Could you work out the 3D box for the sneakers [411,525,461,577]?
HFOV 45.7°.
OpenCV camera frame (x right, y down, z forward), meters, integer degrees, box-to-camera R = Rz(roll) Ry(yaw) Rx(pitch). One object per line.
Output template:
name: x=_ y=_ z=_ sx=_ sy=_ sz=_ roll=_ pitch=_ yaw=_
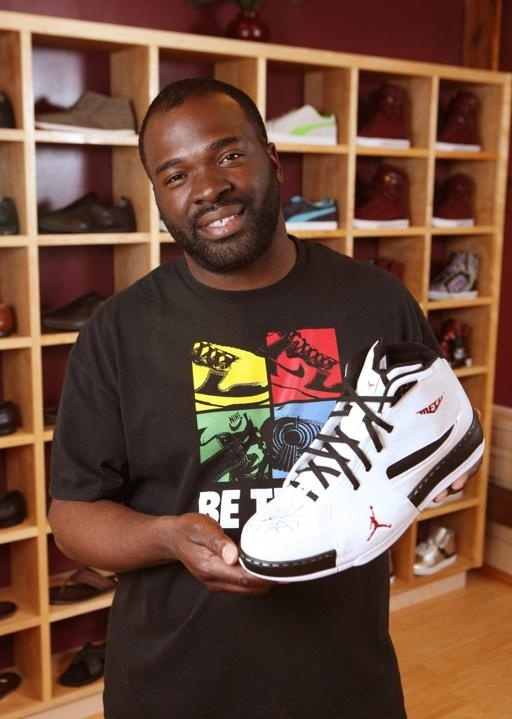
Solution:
sneakers: x=0.847 y=0.893 z=2.841 sx=0.131 sy=0.176 sz=0.311 roll=-4 pitch=-1 yaw=40
